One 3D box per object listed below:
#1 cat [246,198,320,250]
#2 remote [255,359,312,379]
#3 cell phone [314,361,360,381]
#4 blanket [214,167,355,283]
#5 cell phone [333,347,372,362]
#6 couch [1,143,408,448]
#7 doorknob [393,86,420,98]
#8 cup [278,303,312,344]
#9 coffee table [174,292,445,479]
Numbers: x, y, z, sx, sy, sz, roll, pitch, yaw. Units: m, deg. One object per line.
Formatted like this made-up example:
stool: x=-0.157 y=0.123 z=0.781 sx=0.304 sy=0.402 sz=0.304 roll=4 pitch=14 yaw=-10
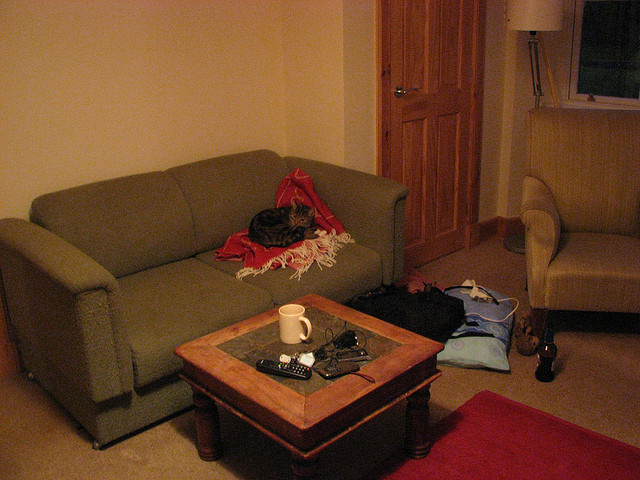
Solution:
cat: x=-0.211 y=-0.084 z=2.905 sx=0.342 sy=0.159 sz=0.250 roll=13 pitch=38 yaw=16
remote: x=-0.123 y=0.454 z=1.811 sx=0.236 sy=0.045 sz=0.064 roll=6 pitch=38 yaw=13
cell phone: x=0.065 y=0.457 z=1.822 sx=0.117 sy=0.026 sz=0.064 roll=-11 pitch=30 yaw=-30
blanket: x=-0.149 y=-0.086 z=2.859 sx=0.589 sy=0.260 sz=0.722 roll=23 pitch=56 yaw=23
cell phone: x=0.118 y=0.422 z=1.893 sx=0.134 sy=0.028 sz=0.068 roll=-8 pitch=21 yaw=-14
couch: x=-0.603 y=0.155 z=2.698 sx=1.764 sy=0.966 sz=0.945 roll=-18 pitch=26 yaw=-36
doorknob: x=0.549 y=-0.987 z=3.420 sx=0.143 sy=0.075 sz=0.031 roll=-17 pitch=26 yaw=-33
cup: x=-0.076 y=0.341 z=1.989 sx=0.099 sy=0.117 sz=0.150 roll=-7 pitch=9 yaw=-37
coffee table: x=-0.030 y=0.570 z=2.034 sx=0.757 sy=0.629 sz=0.717 roll=-21 pitch=27 yaw=-39
